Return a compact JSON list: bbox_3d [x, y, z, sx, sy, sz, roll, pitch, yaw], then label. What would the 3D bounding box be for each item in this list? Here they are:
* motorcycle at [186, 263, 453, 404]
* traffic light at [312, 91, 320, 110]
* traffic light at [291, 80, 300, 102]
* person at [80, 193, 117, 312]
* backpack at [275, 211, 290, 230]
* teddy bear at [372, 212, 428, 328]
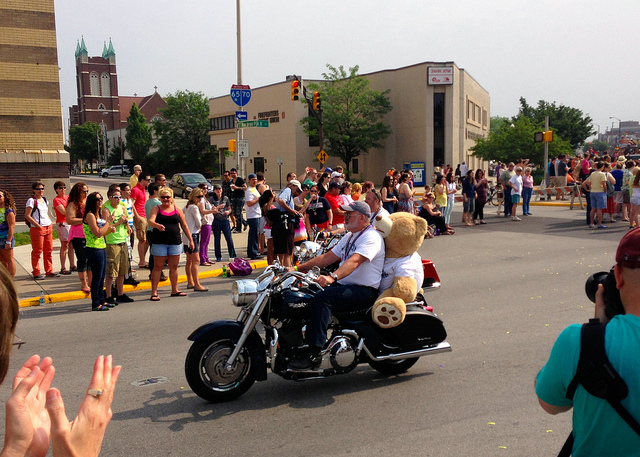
[{"bbox_3d":[-0.173,1.056,7.264,2.619,1.446,1.355,-2,-4,-14],"label":"motorcycle"},{"bbox_3d":[-0.127,-5.306,25.512,0.214,0.648,0.654,-1,8,-1],"label":"traffic light"},{"bbox_3d":[-0.963,-5.505,24.458,0.229,0.771,0.588,0,8,7],"label":"traffic light"},{"bbox_3d":[-3.666,0.385,10.378,0.522,1.941,0.680,-4,8,-22],"label":"person"},{"bbox_3d":[-0.756,-0.125,12.125,0.305,0.570,0.306,1,-18,-6],"label":"backpack"},{"bbox_3d":[0.888,0.487,7.059,0.697,1.179,1.018,14,-6,-9],"label":"teddy bear"}]
